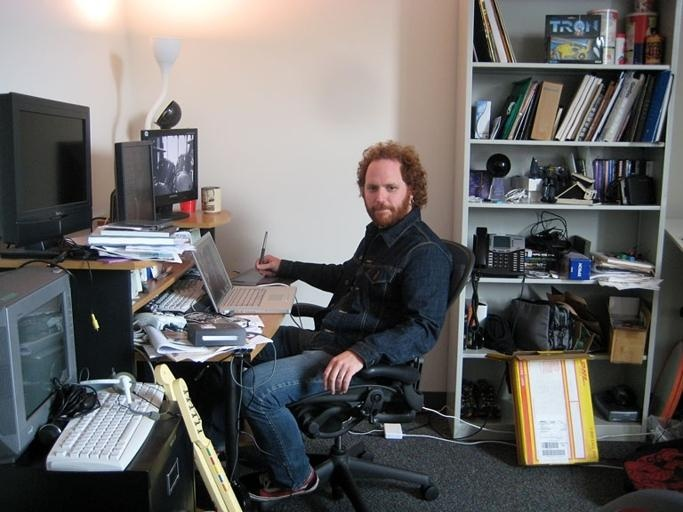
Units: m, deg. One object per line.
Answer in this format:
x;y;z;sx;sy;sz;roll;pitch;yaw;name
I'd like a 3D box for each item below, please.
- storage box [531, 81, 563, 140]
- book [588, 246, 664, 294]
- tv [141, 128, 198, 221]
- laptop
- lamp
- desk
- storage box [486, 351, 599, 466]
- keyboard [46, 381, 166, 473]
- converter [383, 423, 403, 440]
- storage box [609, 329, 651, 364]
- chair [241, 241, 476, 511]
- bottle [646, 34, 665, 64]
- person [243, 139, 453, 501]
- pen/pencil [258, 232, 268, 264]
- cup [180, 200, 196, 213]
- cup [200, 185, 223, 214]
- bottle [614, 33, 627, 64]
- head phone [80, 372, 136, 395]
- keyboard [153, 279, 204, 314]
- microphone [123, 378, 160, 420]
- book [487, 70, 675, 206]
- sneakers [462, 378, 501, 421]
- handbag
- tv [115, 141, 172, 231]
1.040;-0.733;2.837;0.095;0.248;0.238;10;20;16;storage box
1.465;0.097;2.884;0.326;0.163;0.228;5;14;22;book
-0.855;-0.405;2.748;0.158;0.446;0.455;3;15;10;tv
-0.417;0.080;2.486;0.376;0.250;0.416;-1;14;-5;laptop
-0.844;-1.041;3.021;0.435;0.700;0.431;-3;13;-13;lamp
-0.796;0.547;2.486;0.805;0.705;1.461;1;13;1;desk
1.058;0.779;2.959;0.538;0.515;0.321;0;-11;-2;storage box
-0.774;0.575;1.786;0.215;0.038;0.438;2;5;-10;keyboard
0.274;0.941;2.996;0.119;0.029;0.126;2;20;-3;converter
1.463;0.456;2.880;0.186;0.178;0.185;2;9;12;storage box
0.215;0.503;2.994;1.174;1.592;1.131;9;2;-16;chair
1.550;-1.015;2.760;0.088;0.147;0.069;6;14;25;bottle
-0.024;0.272;2.479;0.925;1.548;0.994;6;5;-14;person
-0.435;-0.049;3.105;0.025;0.189;0.024;15;27;1;pen/pencil
-0.823;-0.269;3.040;0.079;0.057;0.070;4;12;23;cup
-0.694;-0.307;3.062;0.140;0.151;0.138;1;18;0;cup
1.406;-1.040;2.814;0.042;0.148;0.093;12;17;41;bottle
-0.804;0.428;1.904;0.149;0.075;0.104;2;5;-31;head phone
-0.714;0.184;2.469;0.097;0.028;0.200;10;17;3;keyboard
-0.669;0.469;1.862;0.162;0.107;0.064;18;16;30;microphone
1.204;-0.753;2.845;0.841;0.367;0.203;1;13;5;book
0.761;0.805;3.062;0.127;0.128;0.307;0;-4;2;sneakers
1.130;0.310;2.979;0.364;0.238;0.341;0;-2;-32;handbag
-0.862;-0.304;2.404;0.232;0.361;0.394;4;15;-3;tv
